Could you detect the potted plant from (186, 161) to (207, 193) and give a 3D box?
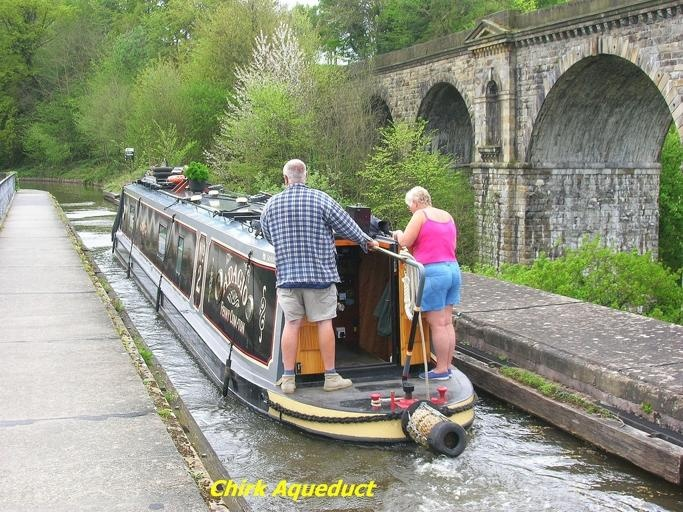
[{"bbox_3d":[-2.732,-1.532,12.880,0.483,0.563,0.510,1,-4,-3],"label":"potted plant"}]

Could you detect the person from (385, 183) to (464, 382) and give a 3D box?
[{"bbox_3d":[0.913,0.302,6.912,0.638,1.978,0.581,3,9,10],"label":"person"}]

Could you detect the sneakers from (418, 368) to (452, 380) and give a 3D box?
[{"bbox_3d":[1.009,1.249,6.974,0.381,0.155,0.148,3,-5,0],"label":"sneakers"}]

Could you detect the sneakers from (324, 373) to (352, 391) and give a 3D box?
[{"bbox_3d":[-0.046,1.255,6.743,0.331,0.167,0.119,-6,8,-44],"label":"sneakers"}]

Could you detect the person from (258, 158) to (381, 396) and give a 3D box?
[{"bbox_3d":[-0.304,0.220,6.652,0.989,2.297,0.467,1,9,-5],"label":"person"}]
